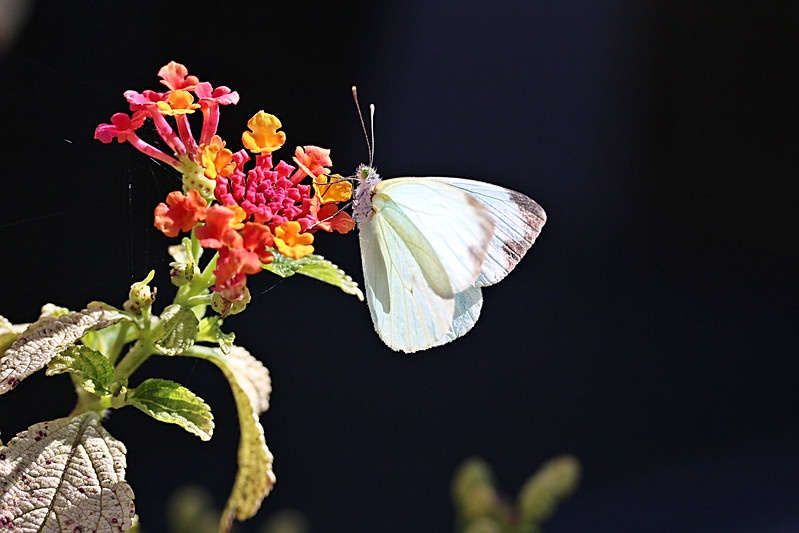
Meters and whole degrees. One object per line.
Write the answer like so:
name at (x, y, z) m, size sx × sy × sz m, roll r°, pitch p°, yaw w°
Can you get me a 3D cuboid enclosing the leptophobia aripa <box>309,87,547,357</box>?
leptophobia aripa at (0.136, -0.033, 3.797) m, size 1.111 × 0.804 × 1.221 m, roll 45°, pitch -25°, yaw -6°
